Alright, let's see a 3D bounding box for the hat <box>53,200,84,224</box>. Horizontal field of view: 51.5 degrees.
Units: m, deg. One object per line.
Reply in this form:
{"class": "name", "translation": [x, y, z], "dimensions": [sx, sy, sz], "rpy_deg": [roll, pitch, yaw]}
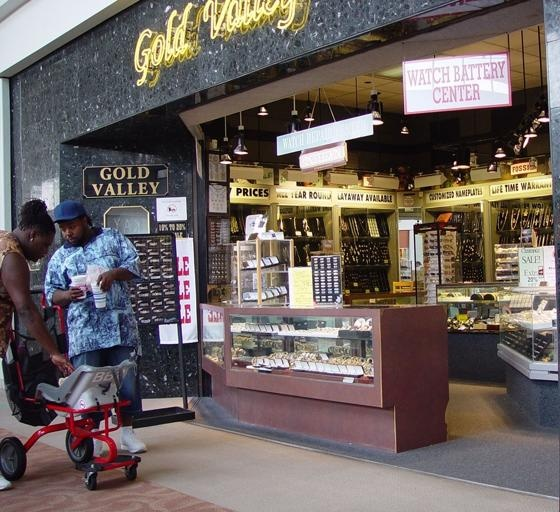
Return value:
{"class": "hat", "translation": [-1.466, -0.299, 3.994], "dimensions": [0.137, 0.109, 0.199], "rpy_deg": [-4, 3, 14]}

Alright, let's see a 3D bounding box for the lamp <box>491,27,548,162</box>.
{"class": "lamp", "translation": [4.104, -2.529, 9.690], "dimensions": [0.941, 1.729, 3.272], "rpy_deg": [-2, -2, 21]}

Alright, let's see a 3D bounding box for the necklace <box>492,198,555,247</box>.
{"class": "necklace", "translation": [4.776, -0.657, 11.319], "dimensions": [1.052, 0.918, 0.760], "rpy_deg": [-2, -2, 24]}

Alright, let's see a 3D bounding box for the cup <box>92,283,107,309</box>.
{"class": "cup", "translation": [-1.235, 0.272, 3.925], "dimensions": [0.087, 0.161, 0.169], "rpy_deg": [0, -2, -18]}
